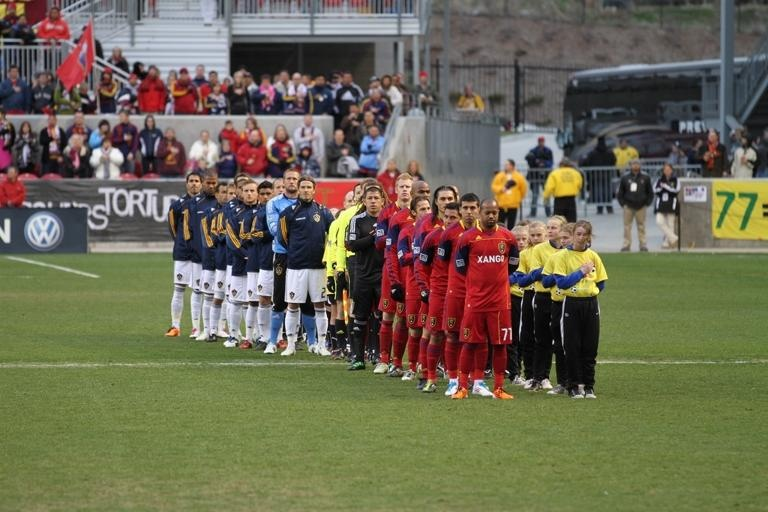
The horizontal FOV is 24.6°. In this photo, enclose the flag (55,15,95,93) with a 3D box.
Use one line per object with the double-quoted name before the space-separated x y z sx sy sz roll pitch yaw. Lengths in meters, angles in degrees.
"flag" -9.760 -6.293 55.859 1.144 2.214 0.689 0 3 -10
